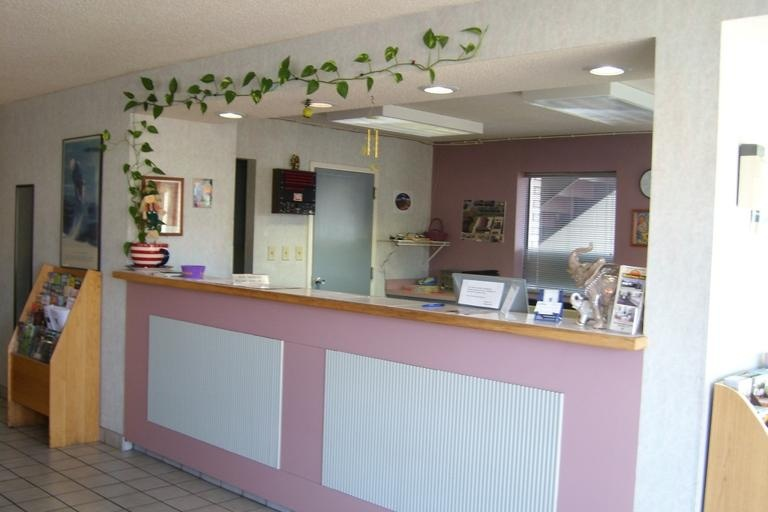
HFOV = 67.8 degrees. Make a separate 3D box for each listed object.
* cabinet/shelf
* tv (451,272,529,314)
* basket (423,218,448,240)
[{"bbox_3d":[-2.931,0.868,5.112,0.887,1.495,0.622,7,15,37],"label":"cabinet/shelf"},{"bbox_3d":[0.624,0.216,3.423,0.486,0.200,0.118,6,14,36],"label":"tv"},{"bbox_3d":[0.696,-0.340,7.482,0.354,0.308,0.226,15,-13,-37],"label":"basket"}]
